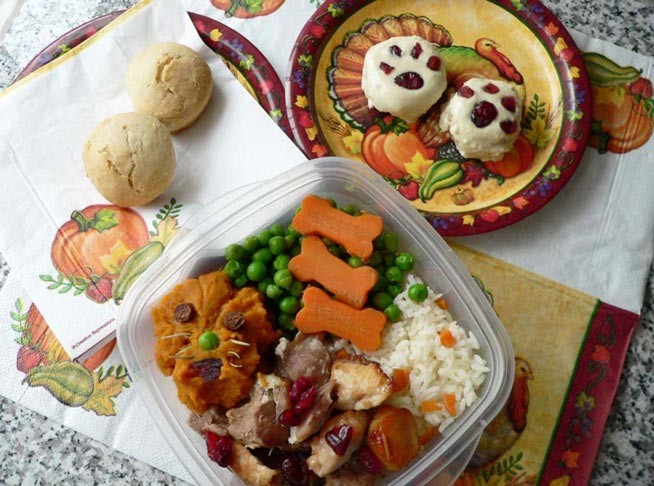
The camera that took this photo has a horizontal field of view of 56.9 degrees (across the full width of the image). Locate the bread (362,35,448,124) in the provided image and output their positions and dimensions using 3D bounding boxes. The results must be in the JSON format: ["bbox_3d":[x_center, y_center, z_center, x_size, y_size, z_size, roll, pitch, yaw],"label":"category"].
[{"bbox_3d":[0.392,-0.855,3.124,0.412,0.159,0.416,-30,76,-5],"label":"bread"}]

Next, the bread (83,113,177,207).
[{"bbox_3d":[-0.990,-0.410,3.008,0.372,0.445,0.242,1,50,-32],"label":"bread"}]

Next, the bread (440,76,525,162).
[{"bbox_3d":[0.787,-0.649,3.084,0.409,0.158,0.425,2,76,4],"label":"bread"}]

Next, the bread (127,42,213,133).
[{"bbox_3d":[-0.793,-0.804,3.064,0.424,0.200,0.390,-33,76,-5],"label":"bread"}]

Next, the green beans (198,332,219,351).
[{"bbox_3d":[-0.501,0.412,2.562,0.066,0.043,0.082,-3,86,-2],"label":"green beans"}]
